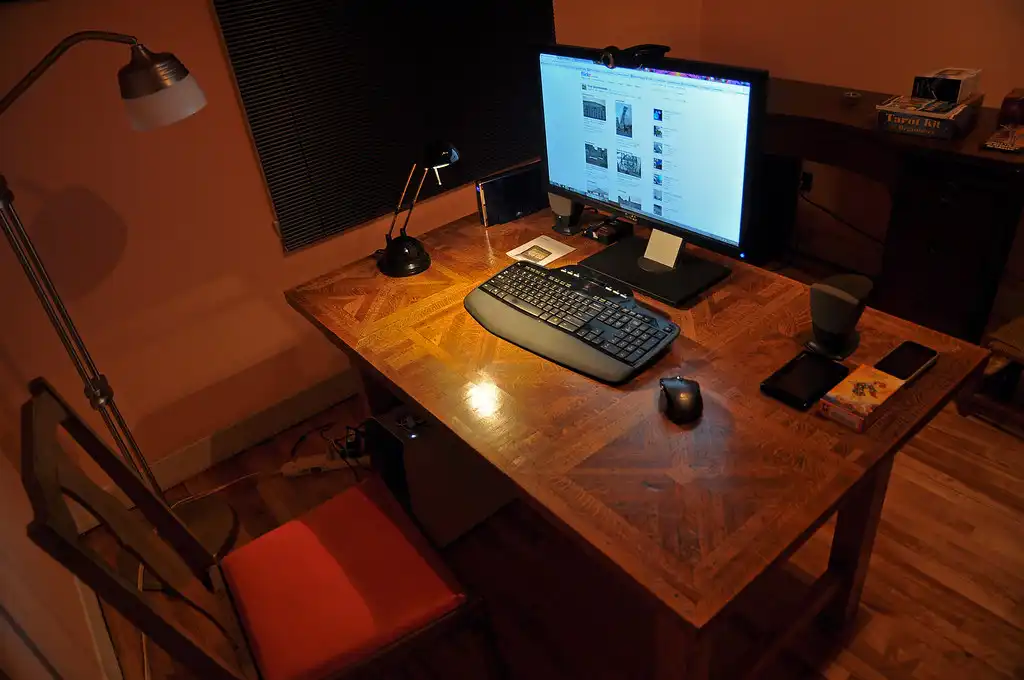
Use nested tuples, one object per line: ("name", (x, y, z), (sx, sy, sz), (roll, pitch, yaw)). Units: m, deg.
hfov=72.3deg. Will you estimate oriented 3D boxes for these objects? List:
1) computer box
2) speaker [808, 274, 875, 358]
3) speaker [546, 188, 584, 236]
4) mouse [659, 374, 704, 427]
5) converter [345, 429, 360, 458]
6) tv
("computer box", (-0.379, 0.516, 2.953), (0.293, 0.498, 0.508), (-26, 31, -25))
("speaker", (1.019, -0.066, 2.169), (0.175, 0.182, 0.126), (-35, 44, -19))
("speaker", (0.215, -0.508, 2.786), (0.093, 0.170, 0.094), (25, 46, 32))
("mouse", (0.504, 0.178, 2.085), (0.132, 0.086, 0.119), (9, 40, 12))
("converter", (-0.749, 0.483, 3.282), (0.057, 0.104, 0.058), (30, 50, 33))
("tv", (0.463, -0.545, 2.417), (0.311, 0.718, 0.802), (-37, 51, -28))
